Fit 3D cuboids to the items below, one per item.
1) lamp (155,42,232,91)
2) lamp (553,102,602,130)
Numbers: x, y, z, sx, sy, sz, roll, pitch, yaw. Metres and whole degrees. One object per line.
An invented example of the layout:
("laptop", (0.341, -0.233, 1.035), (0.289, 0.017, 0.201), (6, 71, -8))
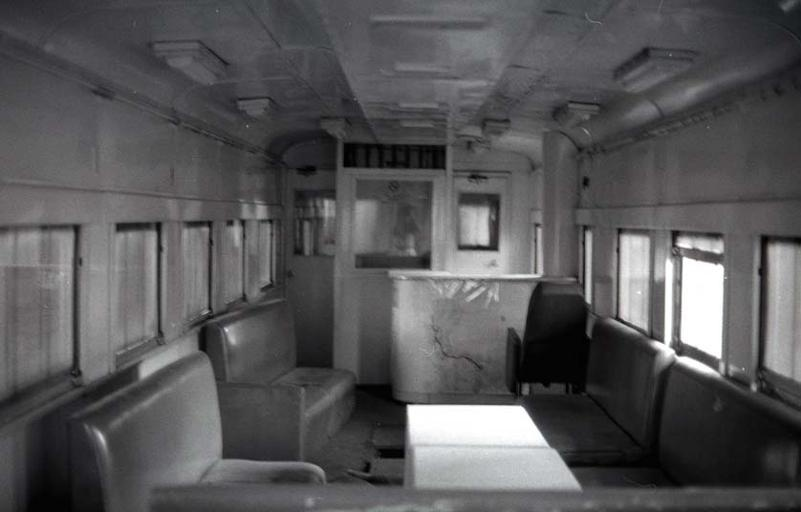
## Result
("lamp", (-0.855, -0.814, 2.419), (0.211, 0.131, 0.288), (1, 3, 10))
("lamp", (0.794, -0.648, 2.649), (0.173, 0.085, 0.244), (0, 3, -15))
